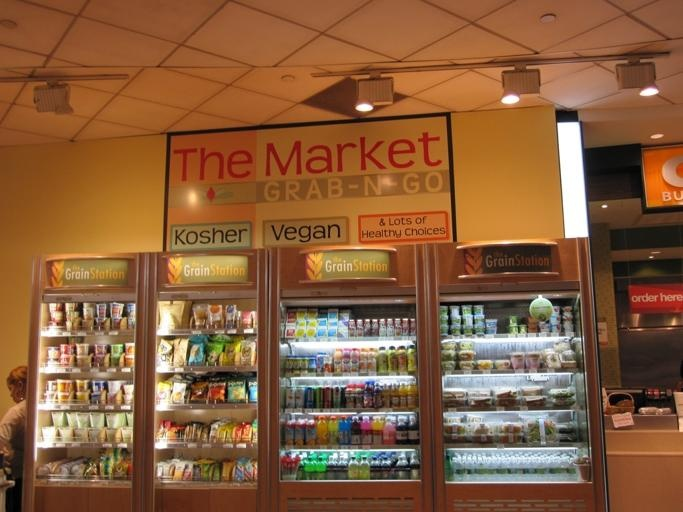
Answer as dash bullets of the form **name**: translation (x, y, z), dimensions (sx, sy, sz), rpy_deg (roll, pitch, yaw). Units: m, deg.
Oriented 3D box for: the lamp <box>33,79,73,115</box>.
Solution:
- **lamp**: translation (-2.749, -1.531, 6.193), dimensions (0.428, 0.309, 0.315), rpy_deg (2, 0, -4)
